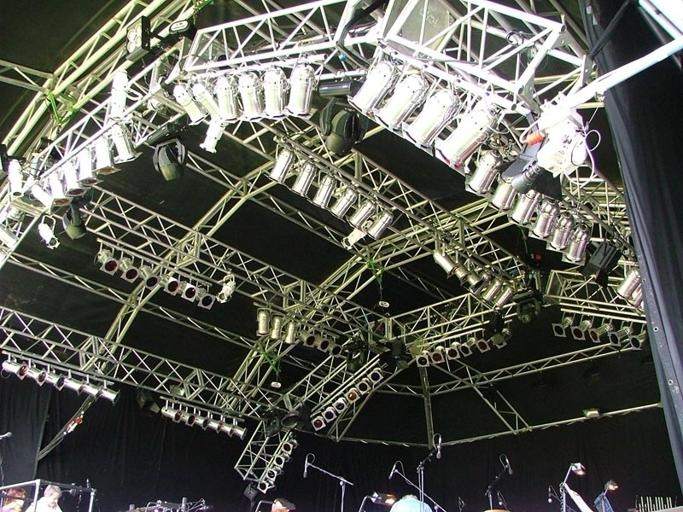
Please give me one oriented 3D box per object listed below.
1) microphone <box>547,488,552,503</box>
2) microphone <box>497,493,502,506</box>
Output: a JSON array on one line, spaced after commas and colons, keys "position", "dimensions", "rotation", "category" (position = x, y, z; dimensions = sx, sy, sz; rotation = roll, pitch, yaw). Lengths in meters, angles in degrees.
[{"position": [5.044, 5.781, 15.077], "dimensions": [0.106, 0.331, 0.246], "rotation": [3, -32, 12], "category": "microphone"}, {"position": [4.000, 6.144, 15.785], "dimensions": [0.178, 0.327, 0.123], "rotation": [-10, -37, 28], "category": "microphone"}]
